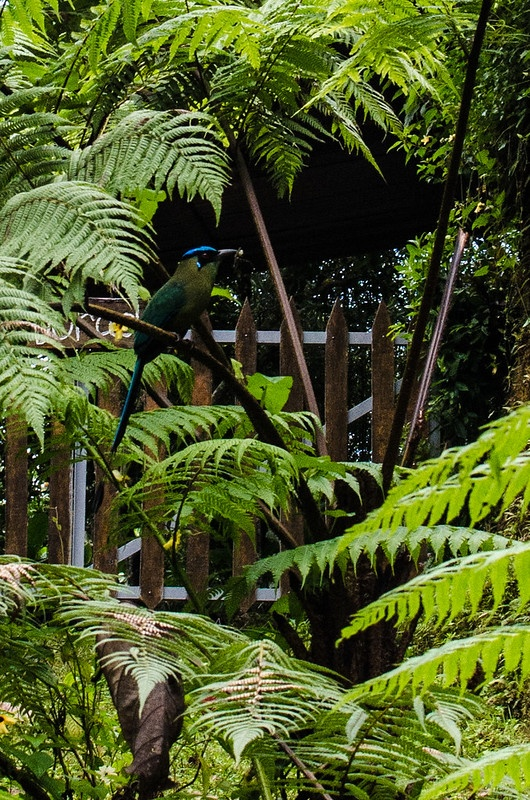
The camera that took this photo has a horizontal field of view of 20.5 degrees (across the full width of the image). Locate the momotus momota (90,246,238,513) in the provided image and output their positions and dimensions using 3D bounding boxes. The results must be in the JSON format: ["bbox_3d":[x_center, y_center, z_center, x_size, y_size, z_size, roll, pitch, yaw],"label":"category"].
[{"bbox_3d":[-0.264,-0.102,3.509,0.191,0.662,0.152,45,13,27],"label":"momotus momota"}]
